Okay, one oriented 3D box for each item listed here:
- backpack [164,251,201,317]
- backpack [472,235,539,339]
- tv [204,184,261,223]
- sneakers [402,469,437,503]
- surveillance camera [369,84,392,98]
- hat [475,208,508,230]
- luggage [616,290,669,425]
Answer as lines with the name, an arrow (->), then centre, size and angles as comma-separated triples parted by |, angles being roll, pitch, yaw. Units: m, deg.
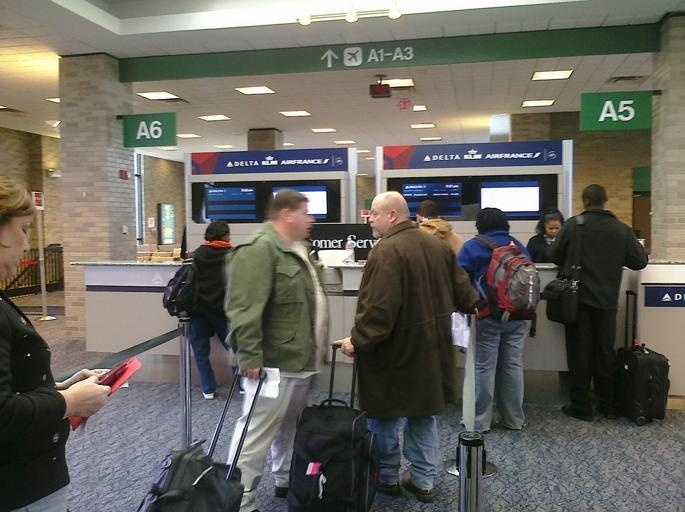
backpack -> -1.606, 0.325, 5.481 | 0.330, 0.548, 0.211 | -5, 11, -17
backpack -> 1.319, 0.239, 4.900 | 0.505, 0.698, 0.733 | 1, 3, -19
tv -> -1.707, -0.826, 8.758 | 0.964, 0.597, 0.119 | 1, -1, 8
sneakers -> 0.545, 1.669, 4.053 | 0.115, 0.127, 0.319 | -3, 5, -15
surveillance camera -> 0.660, -3.058, 10.360 | 0.395, 0.214, 0.385 | 0, 1, -41
hat -> 1.316, -0.323, 4.942 | 0.208, 0.230, 0.246 | 1, 6, 5
luggage -> 2.753, 1.183, 5.114 | 0.388, 0.679, 0.313 | -2, 11, -2
